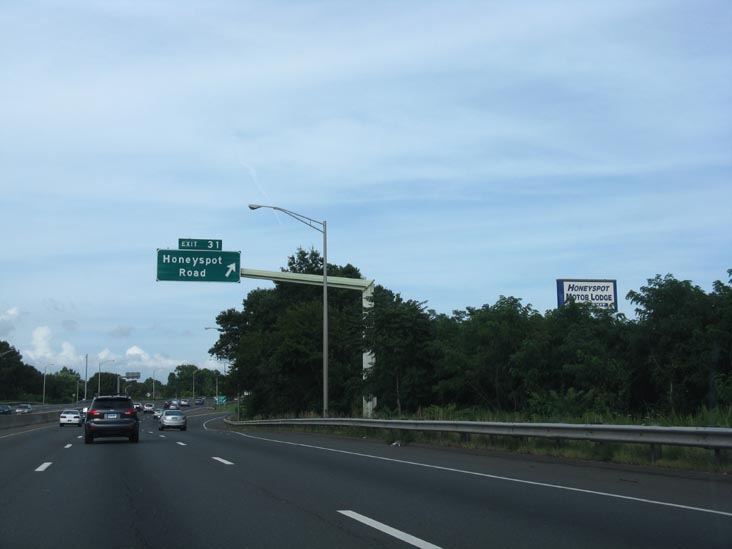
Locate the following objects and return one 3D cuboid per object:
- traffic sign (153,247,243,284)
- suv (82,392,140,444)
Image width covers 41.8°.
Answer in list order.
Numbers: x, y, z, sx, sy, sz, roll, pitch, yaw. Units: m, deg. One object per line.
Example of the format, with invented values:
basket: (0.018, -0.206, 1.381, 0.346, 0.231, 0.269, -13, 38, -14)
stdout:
traffic sign: (-8.099, -0.453, 45.415, 2.821, 1.334, 0.133, 1, -1, -5)
suv: (-9.102, 5.066, 34.082, 1.124, 1.055, 2.434, 1, 1, -11)
